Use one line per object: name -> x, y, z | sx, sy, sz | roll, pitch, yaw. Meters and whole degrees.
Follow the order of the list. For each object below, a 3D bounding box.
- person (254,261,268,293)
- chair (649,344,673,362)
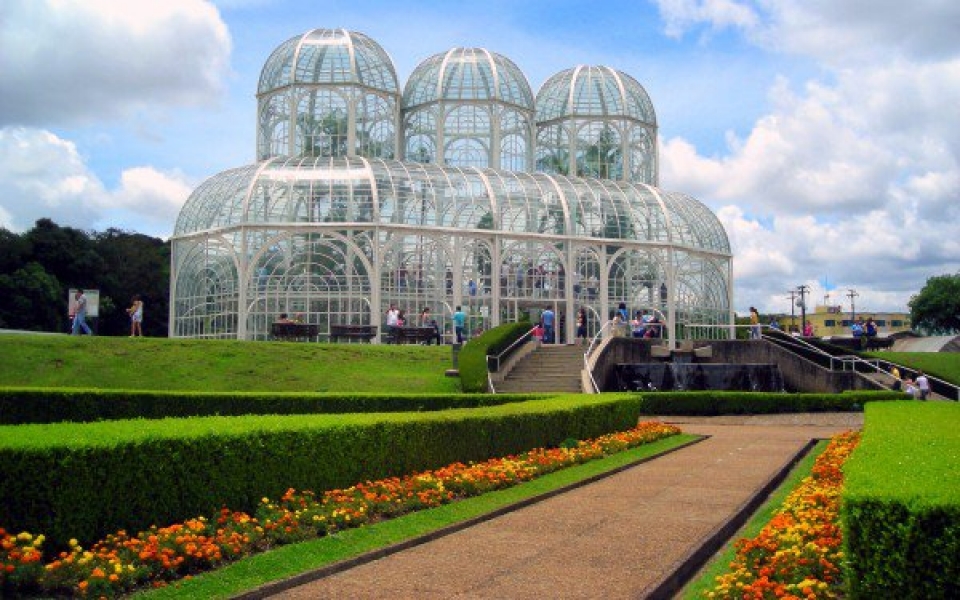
person -> -8.859, -0.940, 34.655 | 0.489, 1.213, 0.229 | 1, 4, -15
chair -> 6.815, 1.985, 32.176 | 0.851, 0.813, 0.590 | 5, -9, -33
